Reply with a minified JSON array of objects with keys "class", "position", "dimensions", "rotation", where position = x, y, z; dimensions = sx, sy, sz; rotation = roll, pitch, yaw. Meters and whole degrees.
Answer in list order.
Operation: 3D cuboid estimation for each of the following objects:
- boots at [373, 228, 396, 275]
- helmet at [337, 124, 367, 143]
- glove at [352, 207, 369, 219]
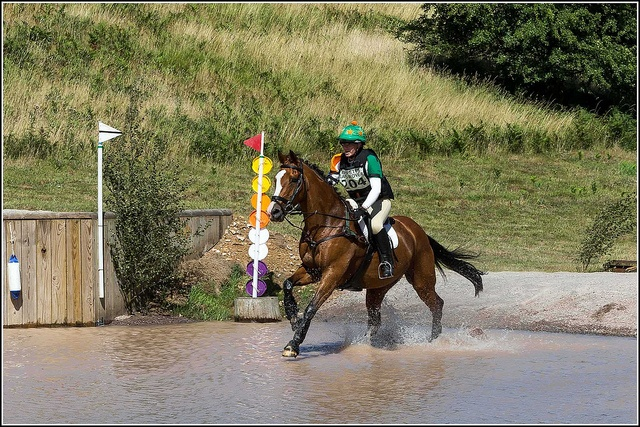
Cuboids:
[{"class":"boots","position":[1.714,0.942,32.598],"dimensions":[0.450,1.227,0.406],"rotation":[-13,36,-17]},{"class":"helmet","position":[0.887,-2.206,32.247],"dimensions":[0.633,0.457,0.457],"rotation":[3,2,-40]},{"class":"glove","position":[1.121,-0.029,32.231],"dimensions":[0.427,0.293,0.302],"rotation":[1,4,1]}]
